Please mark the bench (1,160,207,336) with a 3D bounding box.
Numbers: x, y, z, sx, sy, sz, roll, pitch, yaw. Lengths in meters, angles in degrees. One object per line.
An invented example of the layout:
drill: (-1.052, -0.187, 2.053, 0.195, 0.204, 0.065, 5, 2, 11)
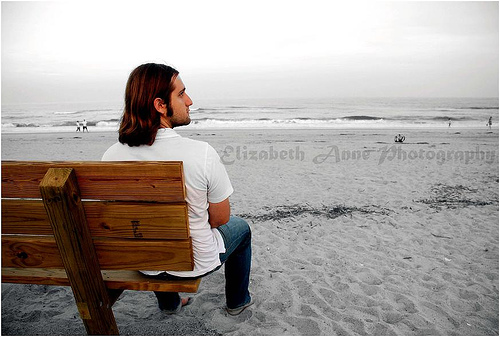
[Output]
bench: (-1.486, 0.803, 3.741, 2.046, 1.802, 1.090, 0, 11, 3)
